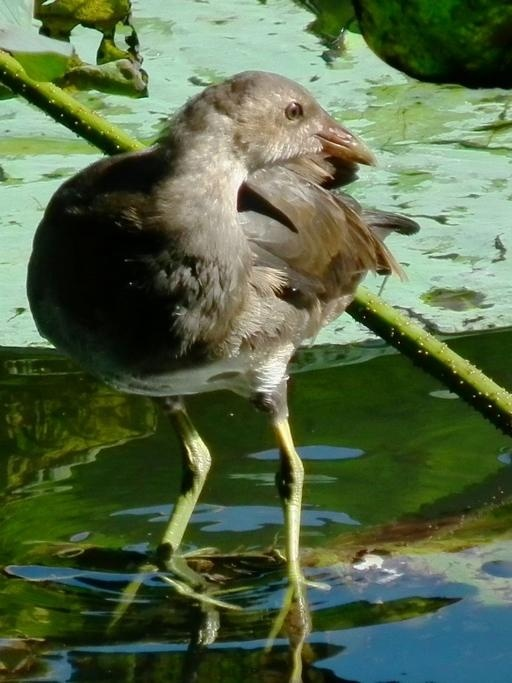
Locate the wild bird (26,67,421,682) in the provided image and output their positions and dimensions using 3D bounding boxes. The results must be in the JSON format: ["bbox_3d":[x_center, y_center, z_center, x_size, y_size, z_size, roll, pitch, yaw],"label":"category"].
[{"bbox_3d":[0.002,-0.053,1.839,0.573,1.088,0.823,22,31,37],"label":"wild bird"}]
